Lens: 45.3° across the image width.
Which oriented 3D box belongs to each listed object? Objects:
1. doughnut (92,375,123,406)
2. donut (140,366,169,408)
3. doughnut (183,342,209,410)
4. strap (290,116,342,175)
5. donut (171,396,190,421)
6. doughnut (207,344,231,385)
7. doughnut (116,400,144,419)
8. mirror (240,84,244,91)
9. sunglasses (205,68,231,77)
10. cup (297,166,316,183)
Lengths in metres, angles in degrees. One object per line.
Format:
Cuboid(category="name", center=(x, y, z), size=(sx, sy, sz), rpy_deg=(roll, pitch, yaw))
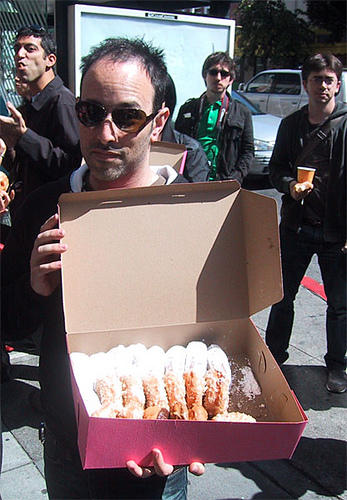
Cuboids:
Cuboid(category="doughnut", center=(-0.153, 0.341, 1.018), size=(0.065, 0.020, 0.064), rpy_deg=(-1, 58, -32))
Cuboid(category="donut", center=(-0.049, 0.345, 1.057), size=(0.056, 0.029, 0.089), rpy_deg=(-4, 45, -13))
Cuboid(category="doughnut", center=(0.059, 0.318, 1.107), size=(0.043, 0.046, 0.157), rpy_deg=(14, 28, -1))
Cuboid(category="strap", center=(1.077, -0.774, 3.090), size=(0.080, 0.672, 0.086), rpy_deg=(-2, 51, -43))
Cuboid(category="donut", center=(0.017, 0.370, 0.971), size=(0.037, 0.023, 0.062), rpy_deg=(-8, 28, 10))
Cuboid(category="doughnut", center=(0.119, 0.312, 1.152), size=(0.041, 0.043, 0.110), rpy_deg=(-8, 16, -11))
Cuboid(category="doughnut", center=(-0.095, 0.366, 0.954), size=(0.037, 0.013, 0.038), rpy_deg=(1, 14, 9))
Cuboid(category="mirror", center=(2.249, -5.296, 13.656), size=(0.056, 0.237, 0.239), rpy_deg=(13, -21, 11))
Cuboid(category="sunglasses", center=(0.470, -1.849, 4.344), size=(0.142, 0.046, 0.138), rpy_deg=(3, 4, -1))
Cuboid(category="cup", center=(0.950, -0.553, 3.069), size=(0.096, 0.106, 0.174), rpy_deg=(-6, 21, -24))
